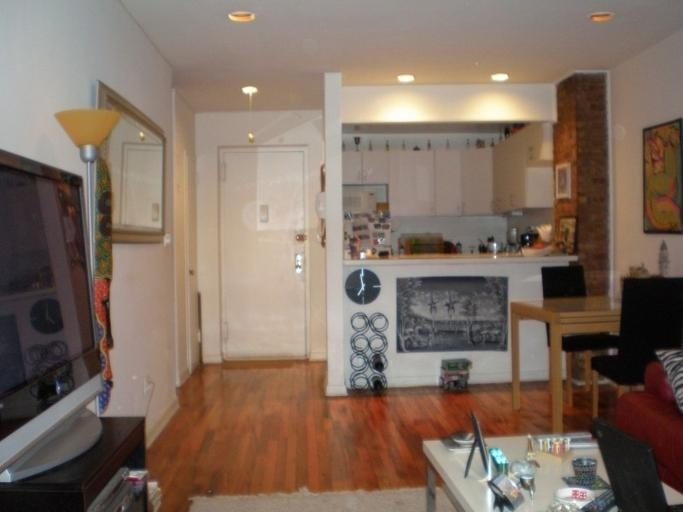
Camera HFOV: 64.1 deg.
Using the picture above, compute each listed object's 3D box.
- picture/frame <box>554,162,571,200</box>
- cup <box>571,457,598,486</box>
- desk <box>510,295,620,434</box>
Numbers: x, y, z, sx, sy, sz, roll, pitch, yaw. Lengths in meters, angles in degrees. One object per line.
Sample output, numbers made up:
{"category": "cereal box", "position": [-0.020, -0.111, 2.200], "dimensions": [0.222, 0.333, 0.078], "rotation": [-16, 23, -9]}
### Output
{"category": "picture/frame", "position": [2.154, -0.736, 5.355], "dimensions": [0.012, 0.355, 0.477], "rotation": [1, 9, 40]}
{"category": "cup", "position": [1.105, 0.965, 2.496], "dimensions": [0.094, 0.084, 0.111], "rotation": [0, -3, 2]}
{"category": "desk", "position": [1.554, 0.734, 4.280], "dimensions": [0.870, 0.912, 0.896], "rotation": [-1, 6, -7]}
